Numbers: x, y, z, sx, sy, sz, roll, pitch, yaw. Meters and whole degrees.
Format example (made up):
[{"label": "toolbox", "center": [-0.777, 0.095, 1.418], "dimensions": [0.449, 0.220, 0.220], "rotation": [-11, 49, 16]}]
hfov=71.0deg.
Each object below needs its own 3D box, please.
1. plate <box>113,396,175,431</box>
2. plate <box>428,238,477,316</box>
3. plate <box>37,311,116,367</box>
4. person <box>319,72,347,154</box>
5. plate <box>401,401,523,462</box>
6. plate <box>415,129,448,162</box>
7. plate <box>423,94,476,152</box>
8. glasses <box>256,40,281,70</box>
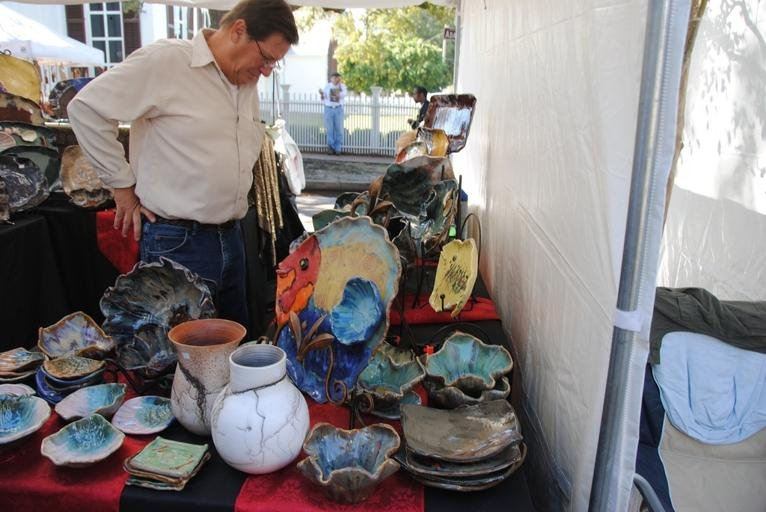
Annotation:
[{"label": "plate", "center": [-0.823, 0.555, 1.869], "dimensions": [0.210, 0.049, 0.161], "rotation": [1, 19, -1]}, {"label": "plate", "center": [0.340, 0.093, 2.511], "dimensions": [0.078, 0.357, 0.236], "rotation": [25, -11, -26]}, {"label": "plate", "center": [-1.188, 0.327, 2.076], "dimensions": [0.322, 0.128, 0.191], "rotation": [18, 24, 39]}, {"label": "person", "center": [-1.142, -3.295, 12.645], "dimensions": [0.487, 1.836, 0.681], "rotation": [-1, 18, -5]}, {"label": "plate", "center": [0.272, 0.594, 1.830], "dimensions": [0.225, 0.074, 0.216], "rotation": [-6, 16, 13]}, {"label": "plate", "center": [0.336, -0.765, 3.604], "dimensions": [0.134, 0.152, 0.256], "rotation": [-10, 22, -30]}, {"label": "plate", "center": [0.489, -0.970, 3.787], "dimensions": [0.322, 0.499, 0.082], "rotation": [5, -6, 32]}, {"label": "glasses", "center": [-0.542, -0.922, 2.487], "dimensions": [0.024, 0.090, 0.080], "rotation": [-15, -2, 29]}]
